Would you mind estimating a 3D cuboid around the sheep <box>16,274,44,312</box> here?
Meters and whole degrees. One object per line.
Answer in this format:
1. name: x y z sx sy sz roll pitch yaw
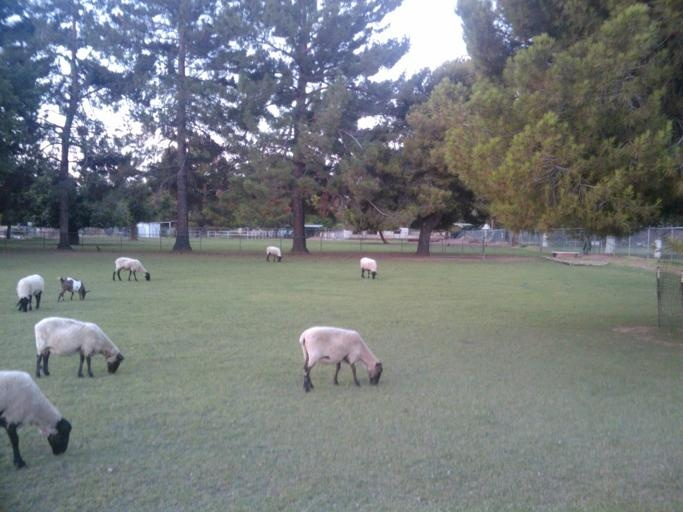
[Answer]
1. sheep: -8.904 1.047 17.096 0.398 0.855 1.402 0 7 -5
